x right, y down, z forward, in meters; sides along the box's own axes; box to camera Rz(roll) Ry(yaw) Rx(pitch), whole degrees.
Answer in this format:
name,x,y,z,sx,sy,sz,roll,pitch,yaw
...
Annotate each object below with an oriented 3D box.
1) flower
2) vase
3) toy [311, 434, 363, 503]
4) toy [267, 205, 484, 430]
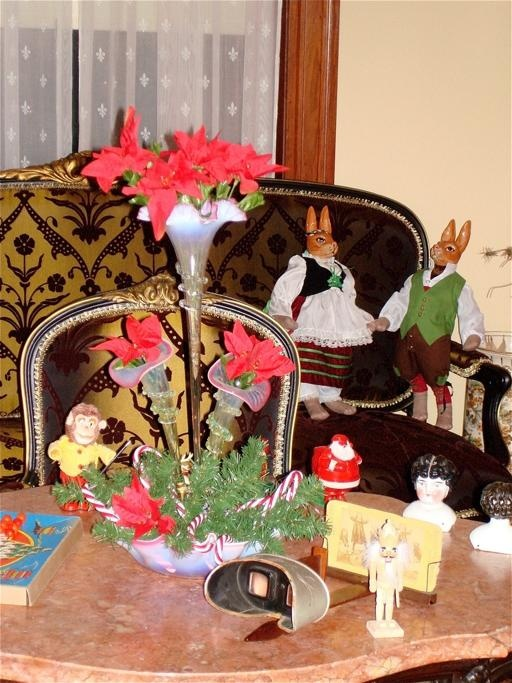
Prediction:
name,x,y,z,sx,sy,sz,roll,pitch,yaw
flower,-0.086,0.020,0.922,0.418,0.558,0.422,0,4,28
vase,-0.111,0.029,0.968,0.193,0.407,0.177,6,19,-11
toy,0.160,0.249,1.232,0.105,0.123,0.103,5,4,-2
toy,0.452,-0.097,2.472,1.102,1.003,0.433,3,-6,-11
